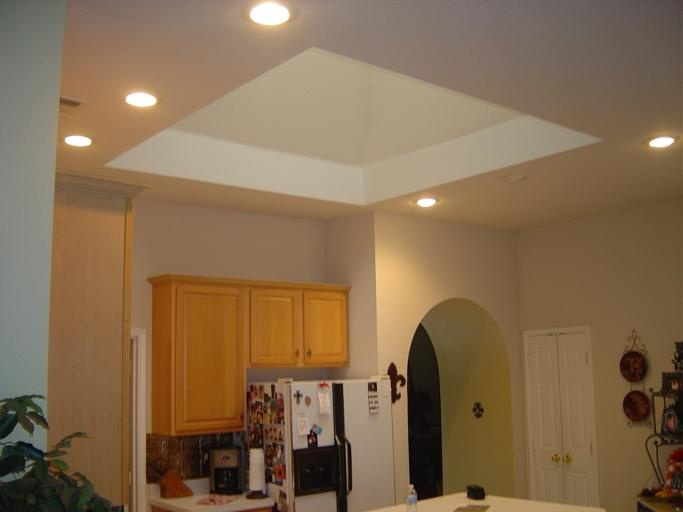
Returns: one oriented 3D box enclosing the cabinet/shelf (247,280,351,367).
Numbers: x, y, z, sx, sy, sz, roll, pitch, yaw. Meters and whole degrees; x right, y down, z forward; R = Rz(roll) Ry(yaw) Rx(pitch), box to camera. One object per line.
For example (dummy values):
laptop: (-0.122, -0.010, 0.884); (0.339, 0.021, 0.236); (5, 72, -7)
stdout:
cabinet/shelf: (-0.404, 0.656, 5.685); (0.995, 0.878, 0.378); (1, 15, -1)

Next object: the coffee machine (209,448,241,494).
coffee machine: (-1.036, 1.928, 5.003); (0.296, 0.455, 0.342); (4, -12, -28)

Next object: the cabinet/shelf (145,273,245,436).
cabinet/shelf: (-1.269, 0.920, 5.148); (0.743, 1.392, 0.359); (6, -12, -41)
